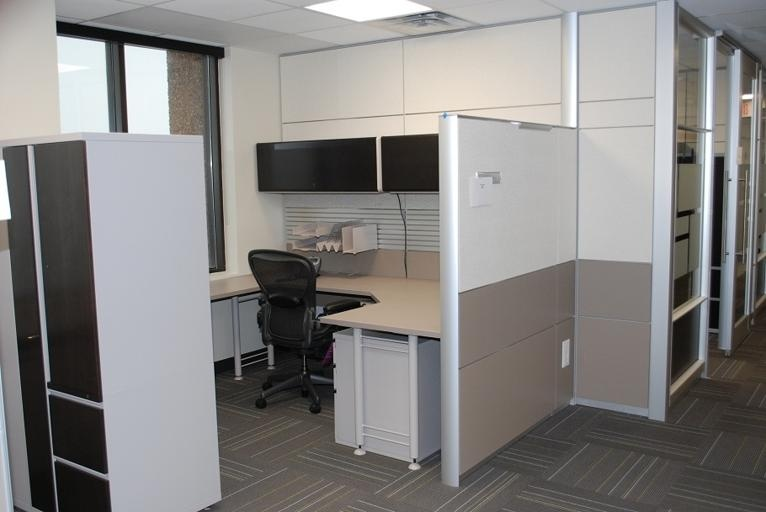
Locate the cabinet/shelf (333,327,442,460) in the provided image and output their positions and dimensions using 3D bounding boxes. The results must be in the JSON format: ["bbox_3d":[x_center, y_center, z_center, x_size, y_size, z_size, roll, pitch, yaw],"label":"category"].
[{"bbox_3d":[0.073,1.082,4.613,1.047,1.030,0.612,4,8,32],"label":"cabinet/shelf"}]
